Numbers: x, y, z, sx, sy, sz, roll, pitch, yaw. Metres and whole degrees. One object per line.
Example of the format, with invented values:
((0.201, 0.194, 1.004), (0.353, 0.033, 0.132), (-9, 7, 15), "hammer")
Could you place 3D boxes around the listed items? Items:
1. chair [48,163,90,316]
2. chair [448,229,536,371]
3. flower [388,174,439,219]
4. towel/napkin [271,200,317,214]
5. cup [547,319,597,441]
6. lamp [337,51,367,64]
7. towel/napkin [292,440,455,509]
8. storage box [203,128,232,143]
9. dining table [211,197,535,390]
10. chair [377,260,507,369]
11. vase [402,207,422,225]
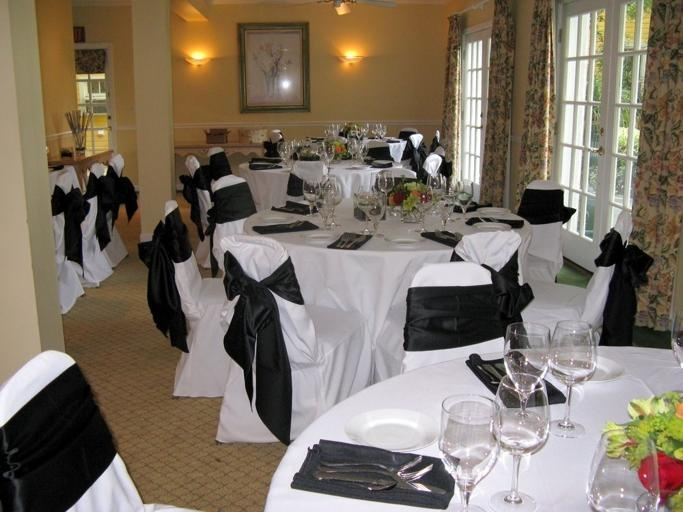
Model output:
((-2.555, -0.158, 4.888), (0.323, 1.272, 0.606), (-8, 14, -27), "chair")
((0.768, 0.173, 2.642), (0.526, 0.789, 0.448), (0, 6, 12), "chair")
((0.518, -0.444, 3.689), (0.263, 0.298, 0.299), (11, 50, 31), "flower")
((-0.369, -0.377, 4.095), (0.169, 0.057, 0.198), (5, 16, 15), "towel/napkin")
((0.657, 0.324, 1.469), (0.116, 0.255, 0.304), (4, 15, 27), "cup")
((0.211, -3.992, 10.388), (0.513, 0.260, 0.084), (-3, 12, 1), "lamp")
((0.086, 0.527, 1.241), (0.266, 0.048, 0.157), (4, 19, 13), "towel/napkin")
((-2.438, -2.339, 10.039), (0.274, 0.224, 0.383), (-2, 18, -7), "storage box")
((0.149, 0.213, 2.756), (0.851, 0.645, 0.967), (0, 13, -2), "dining table")
((0.451, 0.276, 2.425), (0.493, 0.708, 0.505), (2, 14, 9), "chair")
((0.504, -0.290, 3.738), (0.088, 0.111, 0.100), (0, 7, 3), "vase")
